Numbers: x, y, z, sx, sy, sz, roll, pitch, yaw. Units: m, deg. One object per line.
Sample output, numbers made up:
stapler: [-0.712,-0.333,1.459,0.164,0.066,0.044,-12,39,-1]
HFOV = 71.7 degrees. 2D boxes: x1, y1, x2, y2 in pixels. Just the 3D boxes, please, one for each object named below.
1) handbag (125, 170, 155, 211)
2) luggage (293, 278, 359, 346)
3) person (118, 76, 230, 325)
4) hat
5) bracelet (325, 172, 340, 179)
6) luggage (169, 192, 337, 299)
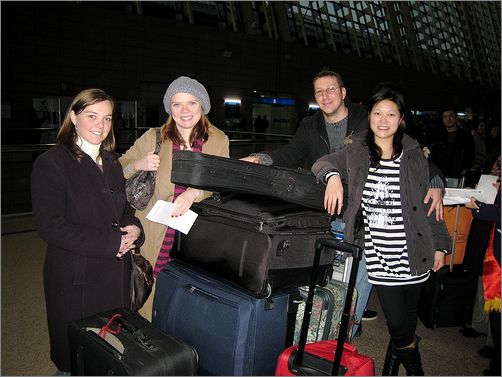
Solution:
handbag: [-0.654,0.006,2.019,0.131,0.208,0.082,28,0,-25]
luggage: [0.430,0.819,2.197,0.251,0.511,0.282,-3,14,-37]
person: [-0.495,0.179,2.177,0.651,1.662,0.518,5,20,-7]
hat: [-0.356,-0.550,1.988,0.198,0.187,0.090,-12,-23,-27]
bracelet: [0.449,-0.077,1.933,0.055,0.021,0.047,-6,6,6]
luggage: [0.030,0.288,2.113,0.638,0.473,0.811,4,2,-45]
